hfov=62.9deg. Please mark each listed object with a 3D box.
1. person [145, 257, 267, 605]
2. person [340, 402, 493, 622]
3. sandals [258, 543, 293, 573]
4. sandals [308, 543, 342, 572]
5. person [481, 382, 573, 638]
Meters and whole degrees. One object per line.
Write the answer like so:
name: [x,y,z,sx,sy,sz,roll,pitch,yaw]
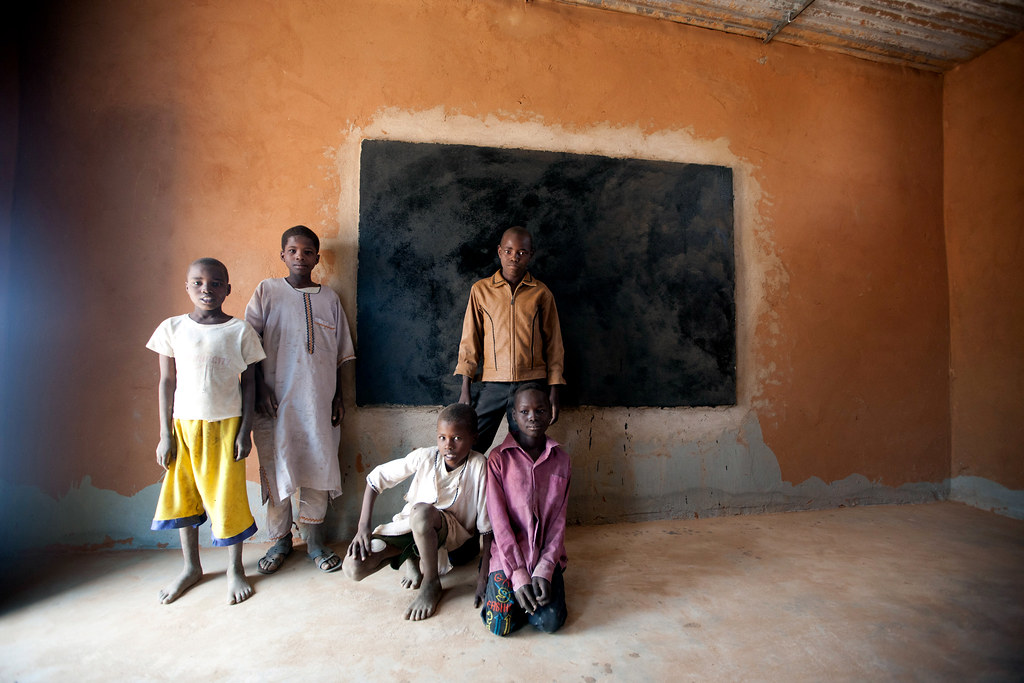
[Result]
person: [-1.891,0.547,5.191,0.629,2.079,0.289,-3,-3,10]
person: [-0.532,1.009,5.121,0.801,1.143,0.699,0,10,-26]
sandals: [-1.531,1.404,5.436,0.096,0.115,0.280,1,4,11]
sandals: [-1.218,1.404,5.446,0.112,0.070,0.261,-1,2,-34]
person: [0.083,1.009,5.101,0.581,1.429,0.424,-2,-3,-3]
